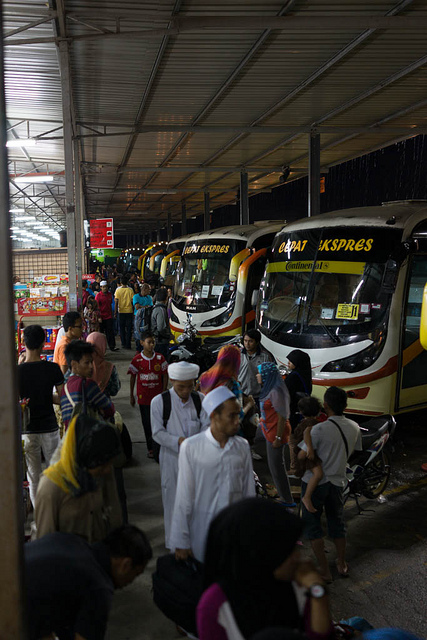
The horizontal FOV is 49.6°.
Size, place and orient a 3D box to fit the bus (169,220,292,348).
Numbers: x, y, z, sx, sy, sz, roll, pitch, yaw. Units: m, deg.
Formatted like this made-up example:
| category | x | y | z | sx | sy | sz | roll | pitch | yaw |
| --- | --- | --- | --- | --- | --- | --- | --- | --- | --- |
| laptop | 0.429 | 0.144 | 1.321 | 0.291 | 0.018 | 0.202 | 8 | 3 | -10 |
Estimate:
| category | x | y | z | sx | sy | sz | roll | pitch | yaw |
| --- | --- | --- | --- | --- | --- | --- | --- | --- | --- |
| bus | 0.114 | -1.347 | 14.568 | 4.142 | 3.926 | 4.503 | 1 | 10 | 1 |

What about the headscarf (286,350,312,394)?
| category | x | y | z | sx | sy | sz | roll | pitch | yaw |
| --- | --- | --- | --- | --- | --- | --- | --- | --- | --- |
| headscarf | 1.208 | 0.705 | 6.317 | 0.371 | 0.611 | 0.308 | 0 | 5 | -14 |

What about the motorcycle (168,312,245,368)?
| category | x | y | z | sx | sy | sz | roll | pitch | yaw |
| --- | --- | --- | --- | --- | --- | --- | --- | --- | --- |
| motorcycle | -0.363 | 0.605 | 12.247 | 1.774 | 1.092 | 0.978 | -7 | -15 | -22 |

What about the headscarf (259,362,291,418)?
| category | x | y | z | sx | sy | sz | roll | pitch | yaw |
| --- | --- | --- | --- | --- | --- | --- | --- | --- | --- |
| headscarf | 0.689 | 0.772 | 5.437 | 0.322 | 0.576 | 0.507 | -12 | 10 | -16 |

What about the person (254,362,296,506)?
| category | x | y | z | sx | sy | sz | roll | pitch | yaw |
| --- | --- | --- | --- | --- | --- | --- | --- | --- | --- |
| person | 0.758 | 1.363 | 5.499 | 0.488 | 1.755 | 0.354 | 2 | 5 | 6 |
